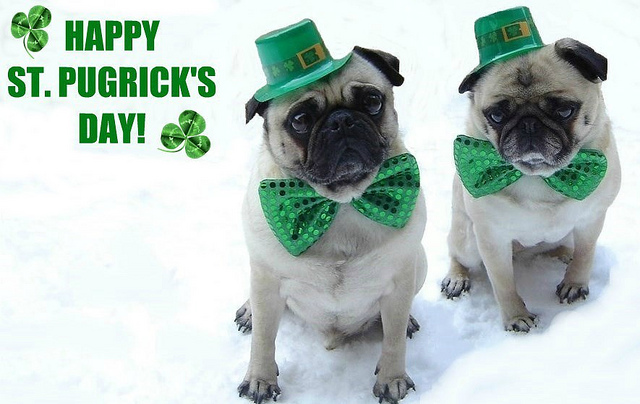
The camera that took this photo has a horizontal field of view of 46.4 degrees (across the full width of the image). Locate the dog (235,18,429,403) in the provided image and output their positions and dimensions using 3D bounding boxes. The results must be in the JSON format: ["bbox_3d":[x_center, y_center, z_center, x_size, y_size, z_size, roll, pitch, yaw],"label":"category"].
[{"bbox_3d":[0.066,0.119,5.445,1.392,2.846,0.849,-9,-8,7],"label":"dog"}]
